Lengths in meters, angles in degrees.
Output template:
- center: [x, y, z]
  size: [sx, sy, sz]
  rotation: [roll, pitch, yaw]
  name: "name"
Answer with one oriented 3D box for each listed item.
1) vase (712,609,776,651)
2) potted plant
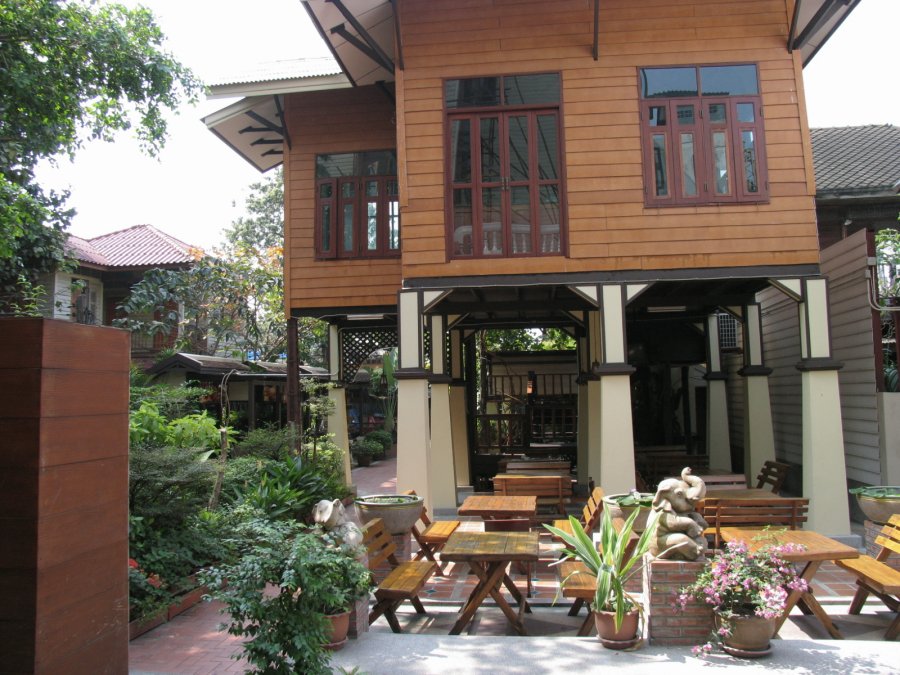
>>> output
- center: [2.447, 2.430, 5.886]
  size: [0.437, 0.314, 0.288]
  rotation: [-2, -4, 17]
  name: "vase"
- center: [-1.054, 2.091, 5.871]
  size: [0.685, 1.171, 1.246]
  rotation: [0, -4, 0]
  name: "potted plant"
